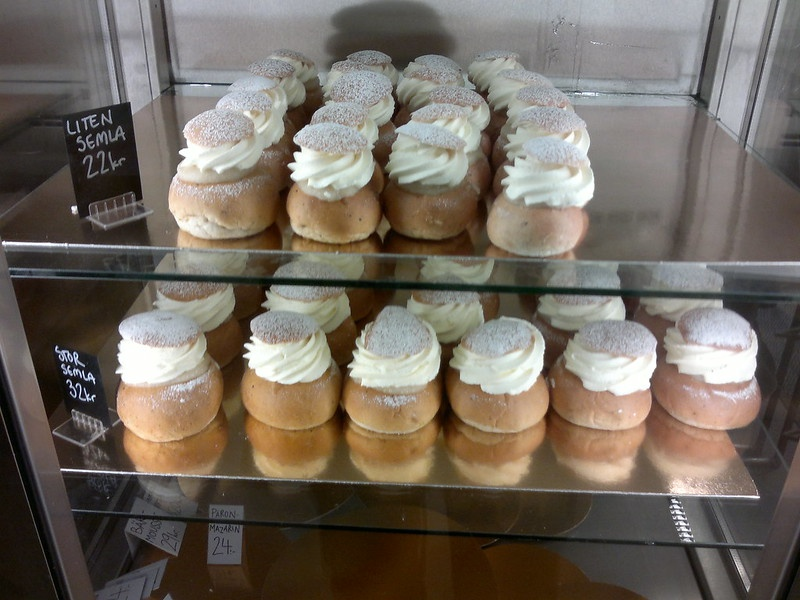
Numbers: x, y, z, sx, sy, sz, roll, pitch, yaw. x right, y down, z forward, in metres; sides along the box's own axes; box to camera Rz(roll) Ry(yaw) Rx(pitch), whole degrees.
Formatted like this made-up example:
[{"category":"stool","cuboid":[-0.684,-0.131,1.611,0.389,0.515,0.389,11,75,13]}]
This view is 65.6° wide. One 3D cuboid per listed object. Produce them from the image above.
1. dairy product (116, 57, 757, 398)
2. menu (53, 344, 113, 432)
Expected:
[{"category":"dairy product","cuboid":[-0.009,-0.087,1.129,0.874,0.507,0.499,2,33,1]},{"category":"menu","cuboid":[-0.594,0.172,1.156,0.127,0.176,0.007,23,42,21]}]
